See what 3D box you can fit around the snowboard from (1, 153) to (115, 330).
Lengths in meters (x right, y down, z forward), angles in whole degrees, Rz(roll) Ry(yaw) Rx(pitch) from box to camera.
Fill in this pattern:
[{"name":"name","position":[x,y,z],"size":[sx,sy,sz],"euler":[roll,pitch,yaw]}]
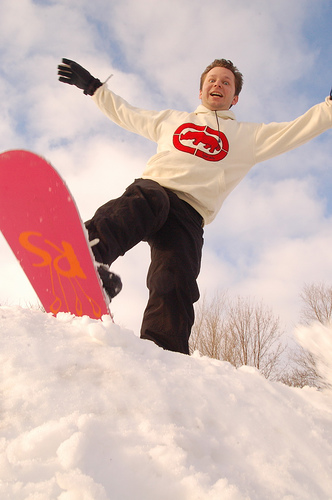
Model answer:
[{"name":"snowboard","position":[-0.484,-0.022,2.300],"size":[0.210,0.810,0.083],"euler":[-23,2,32]}]
